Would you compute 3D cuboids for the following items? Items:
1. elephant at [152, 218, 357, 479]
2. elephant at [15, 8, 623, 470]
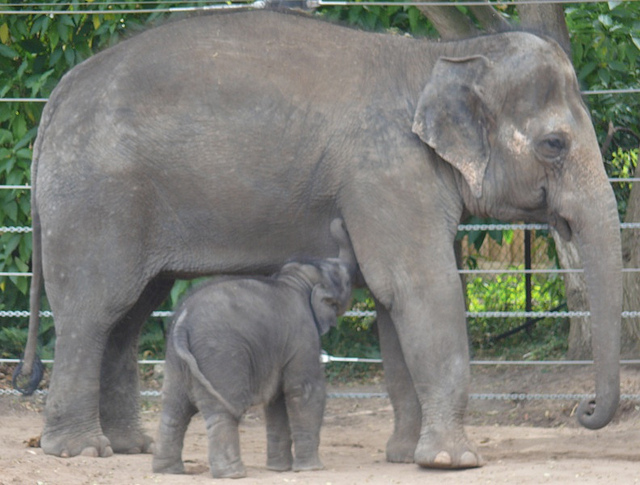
[{"bbox_3d":[-0.025,0.584,6.898,0.575,1.414,1.441,2,3,41],"label":"elephant"},{"bbox_3d":[-0.061,-0.143,8.306,3.502,2.747,1.670,0,0,1],"label":"elephant"}]
